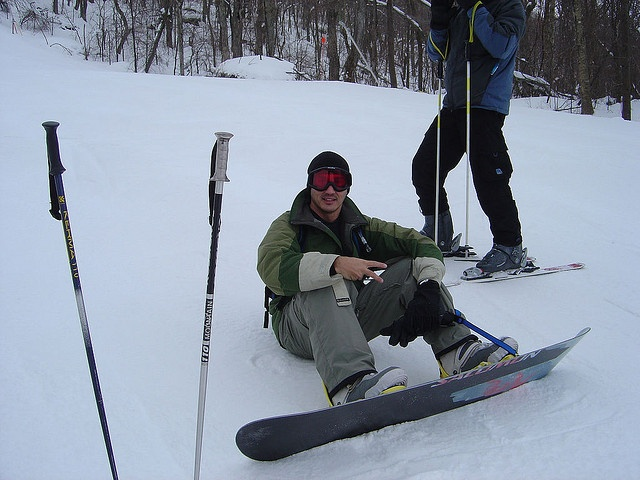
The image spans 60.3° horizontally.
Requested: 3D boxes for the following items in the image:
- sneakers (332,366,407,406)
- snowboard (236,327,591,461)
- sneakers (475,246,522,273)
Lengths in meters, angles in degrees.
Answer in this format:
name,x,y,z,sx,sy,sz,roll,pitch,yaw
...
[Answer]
name,x,y,z,sx,sy,sz,roll,pitch,yaw
sneakers,0.255,0.826,3.007,0.410,0.268,0.118,8,11,13
snowboard,0.532,0.910,3.137,1.858,0.254,0.215,-12,34,-15
sneakers,1.574,0.147,4.848,0.420,0.237,0.200,-10,8,-8
